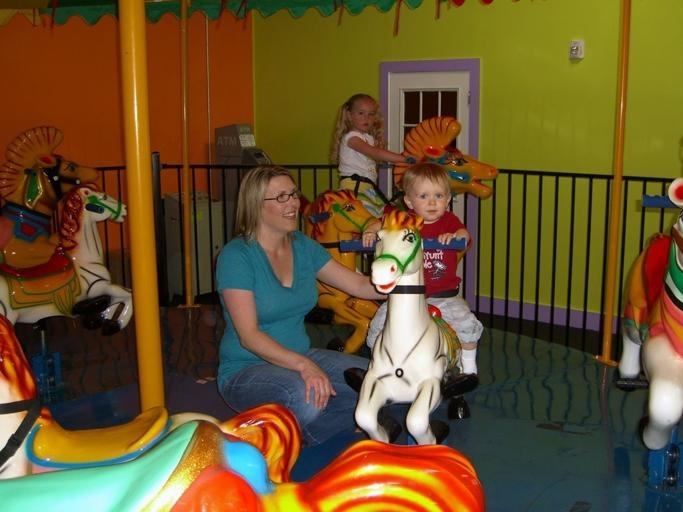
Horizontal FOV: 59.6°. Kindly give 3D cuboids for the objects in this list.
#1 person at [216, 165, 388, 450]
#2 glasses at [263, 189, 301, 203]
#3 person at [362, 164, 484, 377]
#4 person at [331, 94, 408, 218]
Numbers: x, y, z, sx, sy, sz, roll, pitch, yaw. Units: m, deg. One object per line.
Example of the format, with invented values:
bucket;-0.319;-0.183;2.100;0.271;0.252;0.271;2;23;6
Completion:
person;-0.225;0.242;2.773;0.665;1.305;0.637;4;11;28
glasses;-0.255;-0.275;2.718;0.194;0.051;0.072;-11;14;-41
person;0.424;0.089;3.060;0.572;1.103;0.589;0;4;7
person;0.148;-0.654;4.852;0.739;1.323;0.454;-1;-4;39
